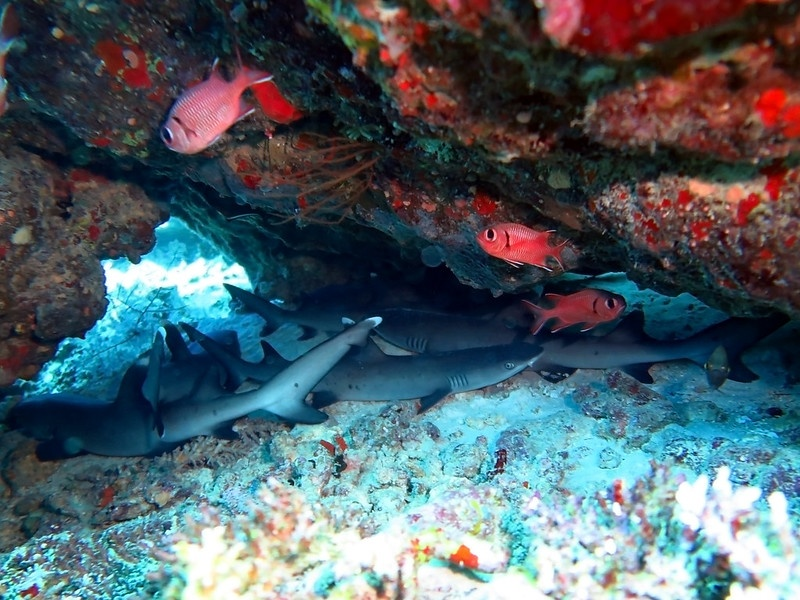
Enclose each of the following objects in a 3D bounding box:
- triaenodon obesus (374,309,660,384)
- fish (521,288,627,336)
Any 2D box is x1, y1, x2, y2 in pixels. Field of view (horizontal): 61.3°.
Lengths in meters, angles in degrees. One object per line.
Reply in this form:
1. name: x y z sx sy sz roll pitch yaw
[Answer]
1. triaenodon obesus: 1.179 0.638 7.807 3.915 0.926 0.742 4 -75 15
2. fish: 1.683 0.103 6.479 1.097 0.372 0.247 -9 -7 40
